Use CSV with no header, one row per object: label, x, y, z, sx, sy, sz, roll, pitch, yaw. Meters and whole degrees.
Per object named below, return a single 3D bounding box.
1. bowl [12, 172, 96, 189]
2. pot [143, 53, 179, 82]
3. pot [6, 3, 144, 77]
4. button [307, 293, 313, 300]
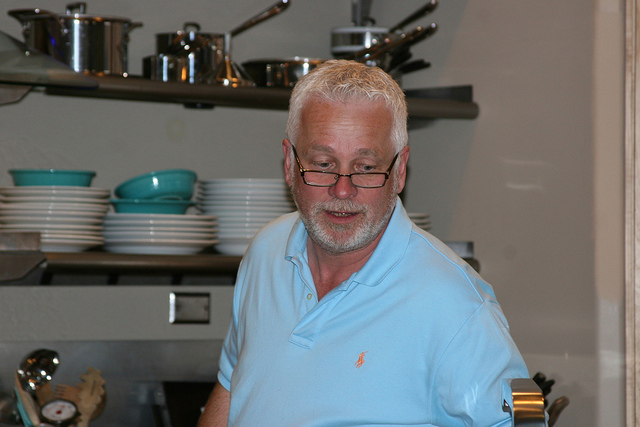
bowl,-0.765,-0.098,2.967,0.228,0.040,0.068,0,8,-13
pot,-0.485,-0.441,3.140,0.104,0.083,0.239,0,7,-10
pot,-0.737,-0.507,3.027,0.293,0.163,0.197,2,-10,-12
button,-0.026,0.209,2.603,0.013,0.014,0.003,-13,-13,22
